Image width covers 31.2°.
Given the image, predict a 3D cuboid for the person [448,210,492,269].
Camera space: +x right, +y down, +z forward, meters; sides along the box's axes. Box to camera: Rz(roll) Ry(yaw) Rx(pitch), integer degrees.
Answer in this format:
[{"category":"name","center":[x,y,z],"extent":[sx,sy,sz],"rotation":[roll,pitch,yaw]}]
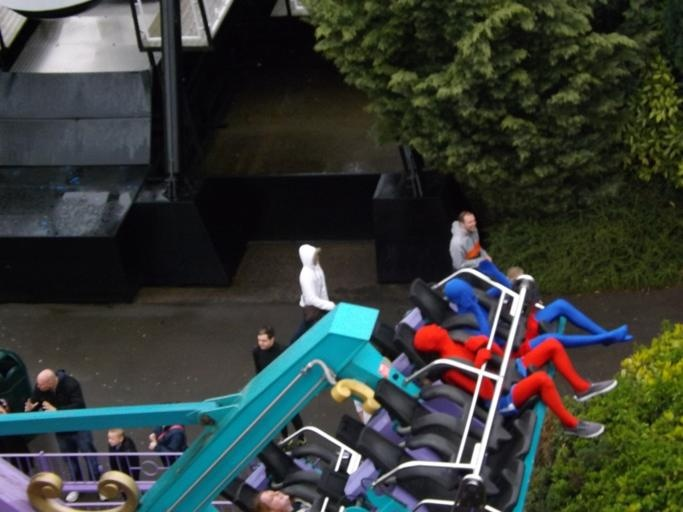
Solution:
[{"category":"person","center":[1.802,-0.201,17.367],"extent":[0.514,0.927,0.482],"rotation":[5,20,19]}]

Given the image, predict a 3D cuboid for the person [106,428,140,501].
[{"category":"person","center":[-2.794,2.564,15.711],"extent":[0.388,0.823,1.056],"rotation":[-6,19,-12]}]

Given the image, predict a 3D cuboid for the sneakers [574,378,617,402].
[{"category":"sneakers","center":[3.041,1.615,14.618],"extent":[0.485,0.194,0.184],"rotation":[-28,7,13]}]

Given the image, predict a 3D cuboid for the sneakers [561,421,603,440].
[{"category":"sneakers","center":[2.847,2.049,14.309],"extent":[0.395,0.172,0.236],"rotation":[-3,40,13]}]
